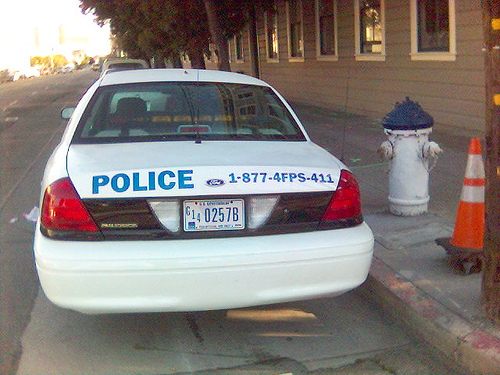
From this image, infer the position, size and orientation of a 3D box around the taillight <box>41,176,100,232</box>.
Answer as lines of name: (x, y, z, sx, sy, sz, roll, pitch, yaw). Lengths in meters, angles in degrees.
taillight: (-1.197, 0.120, 2.927, 0.438, 0.333, 0.187, 4, 22, 26)

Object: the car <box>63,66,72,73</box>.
car: (-39.703, -25.817, 95.966, 1.671, 0.841, 2.217, -1, 25, -12)

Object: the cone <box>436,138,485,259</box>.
cone: (1.925, 0.102, 4.007, 0.363, 0.992, 0.676, 3, 21, 24)

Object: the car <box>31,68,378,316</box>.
car: (-0.534, -0.318, 4.212, 1.625, 1.070, 3.224, -1, 15, -9)

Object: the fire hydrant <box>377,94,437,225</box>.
fire hydrant: (1.910, -0.344, 5.220, 0.629, 1.439, 0.604, 11, 26, 40)
